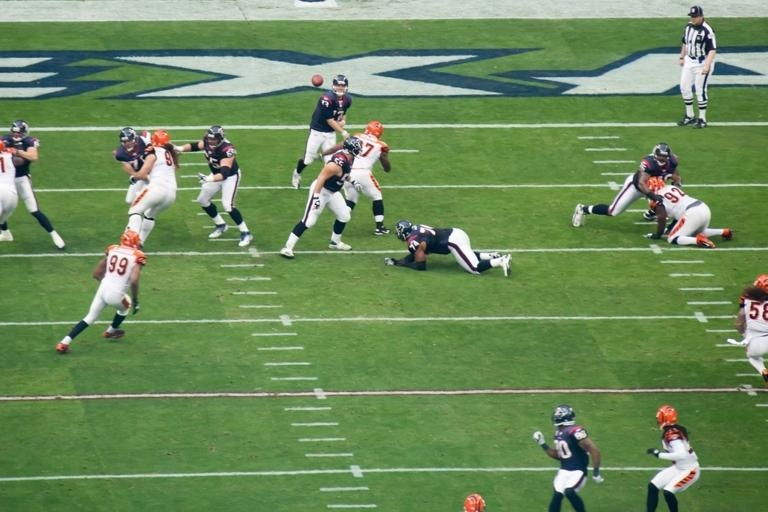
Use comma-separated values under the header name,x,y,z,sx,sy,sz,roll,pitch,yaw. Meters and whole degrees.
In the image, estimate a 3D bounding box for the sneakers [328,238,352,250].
name,x,y,z,sx,sy,sz,roll,pitch,yaw
sneakers,-0.785,-0.200,28.833,0.461,0.124,0.171,1,13,5

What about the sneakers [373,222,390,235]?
name,x,y,z,sx,sy,sz,roll,pitch,yaw
sneakers,-0.040,-0.488,29.323,0.455,0.200,0.143,-10,26,-26

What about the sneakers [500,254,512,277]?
name,x,y,z,sx,sy,sz,roll,pitch,yaw
sneakers,2.163,0.171,27.808,0.260,0.363,0.158,-10,9,2

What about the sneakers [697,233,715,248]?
name,x,y,z,sx,sy,sz,roll,pitch,yaw
sneakers,5.775,-0.266,28.774,0.408,0.171,0.151,22,4,10

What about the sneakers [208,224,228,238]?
name,x,y,z,sx,sy,sz,roll,pitch,yaw
sneakers,-3.026,-0.456,29.042,0.190,0.166,0.456,7,29,35

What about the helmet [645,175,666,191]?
name,x,y,z,sx,sy,sz,roll,pitch,yaw
helmet,4.924,-1.312,28.804,0.412,0.227,0.228,-12,28,14

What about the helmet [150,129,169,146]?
name,x,y,z,sx,sy,sz,roll,pitch,yaw
helmet,-3.970,-2.084,28.257,0.291,0.240,0.380,-2,15,-6

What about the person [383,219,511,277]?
name,x,y,z,sx,sy,sz,roll,pitch,yaw
person,1.344,-0.123,28.000,2.782,0.643,0.932,9,27,38

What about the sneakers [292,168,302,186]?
name,x,y,z,sx,sy,sz,roll,pitch,yaw
sneakers,-1.605,-1.506,30.619,0.176,0.322,0.170,-4,-20,-17

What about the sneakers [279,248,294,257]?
name,x,y,z,sx,sy,sz,roll,pitch,yaw
sneakers,-1.722,-0.080,28.404,0.254,0.197,0.266,-1,16,-3

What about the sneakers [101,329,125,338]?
name,x,y,z,sx,sy,sz,roll,pitch,yaw
sneakers,-4.438,1.279,26.210,0.413,0.097,0.156,-3,-5,-9

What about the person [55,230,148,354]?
name,x,y,z,sx,sy,sz,roll,pitch,yaw
person,-4.581,0.565,25.870,1.399,1.923,0.647,-6,21,-16

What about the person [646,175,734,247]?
name,x,y,z,sx,sy,sz,roll,pitch,yaw
person,5.530,-0.707,28.939,0.912,0.849,1.671,-19,32,-35

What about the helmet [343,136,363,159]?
name,x,y,z,sx,sy,sz,roll,pitch,yaw
helmet,-0.553,-1.933,28.247,0.308,0.352,0.317,-1,17,-1

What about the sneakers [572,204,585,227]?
name,x,y,z,sx,sy,sz,roll,pitch,yaw
sneakers,3.607,-0.762,29.429,0.238,0.391,0.213,2,-15,5

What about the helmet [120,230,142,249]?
name,x,y,z,sx,sy,sz,roll,pitch,yaw
helmet,-4.134,-0.270,25.952,0.372,0.271,0.332,3,4,1

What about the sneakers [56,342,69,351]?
name,x,y,z,sx,sy,sz,roll,pitch,yaw
sneakers,-5.215,1.482,25.840,0.206,0.149,0.144,-1,28,-21

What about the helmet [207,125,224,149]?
name,x,y,z,sx,sy,sz,roll,pitch,yaw
helmet,-3.015,-2.126,28.401,0.320,0.356,0.259,-2,18,-5

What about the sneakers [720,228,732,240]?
name,x,y,z,sx,sy,sz,roll,pitch,yaw
sneakers,6.235,-0.409,28.811,0.287,0.177,0.220,3,29,17

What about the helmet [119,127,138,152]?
name,x,y,z,sx,sy,sz,roll,pitch,yaw
helmet,-4.478,-2.100,27.939,0.447,0.345,0.430,-1,32,-6

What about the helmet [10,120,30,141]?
name,x,y,z,sx,sy,sz,roll,pitch,yaw
helmet,-6.479,-2.254,28.341,0.266,0.276,0.498,-2,15,-5
